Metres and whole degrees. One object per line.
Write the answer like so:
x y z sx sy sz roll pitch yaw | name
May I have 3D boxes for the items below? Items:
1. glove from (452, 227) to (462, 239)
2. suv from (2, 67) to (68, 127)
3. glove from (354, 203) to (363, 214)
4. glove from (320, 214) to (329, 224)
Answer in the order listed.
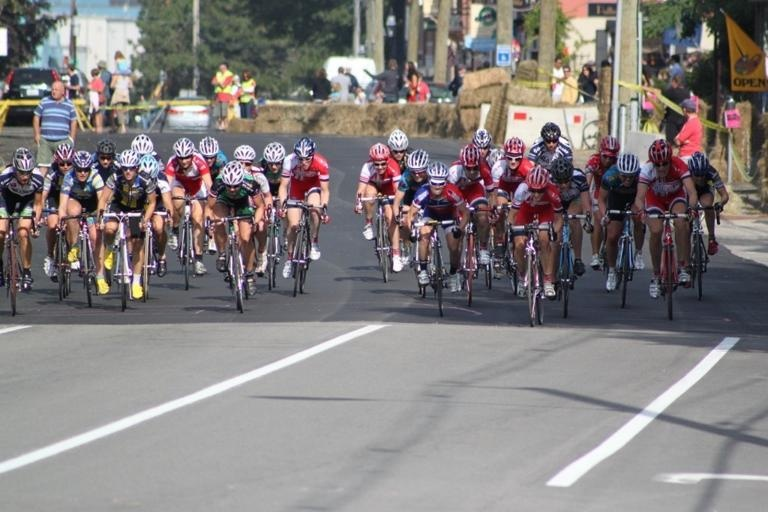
1.011 -0.338 18.263 0.126 0.122 0.126 -13 23 -38 | glove
-11.657 -5.164 43.671 2.117 1.880 3.899 -2 13 -6 | suv
-0.386 -0.740 20.484 0.124 0.168 0.060 -6 15 -38 | glove
-0.881 -0.595 20.134 0.107 0.148 0.053 -29 -15 40 | glove
